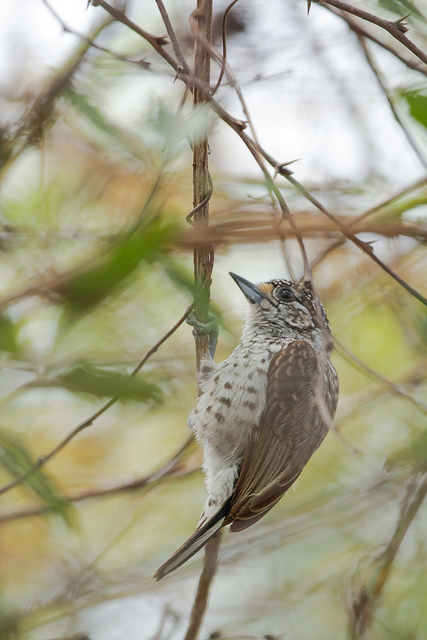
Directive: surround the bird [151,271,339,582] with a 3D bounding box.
[{"bbox_3d":[0.206,0.264,2.038,0.624,0.947,0.334,-15,-51,40],"label":"bird"}]
